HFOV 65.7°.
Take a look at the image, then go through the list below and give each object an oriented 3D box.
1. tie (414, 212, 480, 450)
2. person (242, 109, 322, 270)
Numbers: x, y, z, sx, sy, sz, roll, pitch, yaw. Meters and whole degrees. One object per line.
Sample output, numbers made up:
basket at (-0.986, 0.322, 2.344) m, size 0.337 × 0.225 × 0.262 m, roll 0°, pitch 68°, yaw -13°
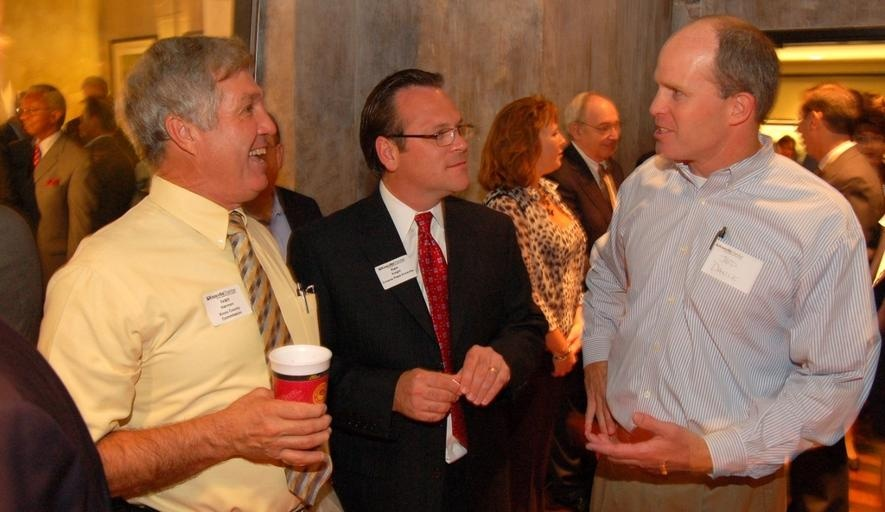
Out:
tie at (0.008, 0.335, 3.253) m, size 0.177 × 1.122 × 0.125 m, roll -8°, pitch -12°, yaw -11°
person at (-0.886, -0.389, 3.839) m, size 0.532 × 0.802 × 0.260 m, roll 0°, pitch 11°, yaw -11°
